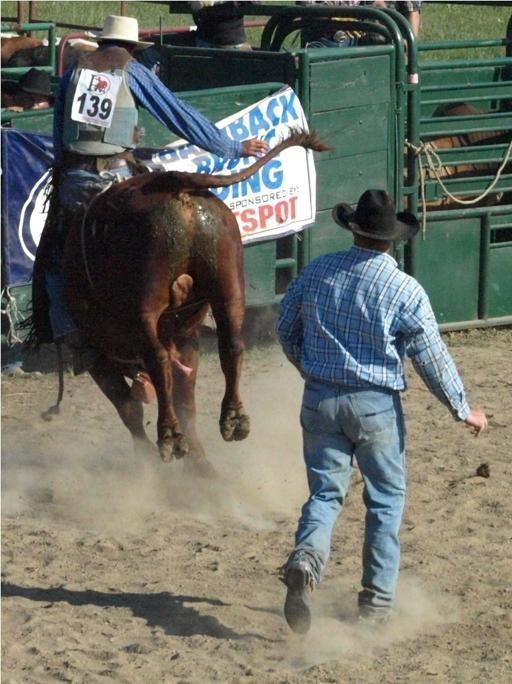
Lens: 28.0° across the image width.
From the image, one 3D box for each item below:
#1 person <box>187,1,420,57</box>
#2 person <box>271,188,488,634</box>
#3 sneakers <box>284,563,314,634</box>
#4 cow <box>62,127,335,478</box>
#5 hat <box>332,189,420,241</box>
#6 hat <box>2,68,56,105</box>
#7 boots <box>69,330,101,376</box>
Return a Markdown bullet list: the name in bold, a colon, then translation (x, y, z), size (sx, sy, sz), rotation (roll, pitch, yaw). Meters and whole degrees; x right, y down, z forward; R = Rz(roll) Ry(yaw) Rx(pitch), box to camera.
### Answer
- **person**: translation (0.415, -2.552, 8.615), size (1.908, 0.427, 0.889), rotation (1, 40, 1)
- **person**: translation (0.394, 0.266, 4.035), size (0.856, 1.687, 0.794), rotation (-5, 15, -21)
- **sneakers**: translation (0.156, 0.921, 3.748), size (0.096, 0.265, 0.158), rotation (-1, -7, 3)
- **cow**: translation (-0.331, -0.191, 5.249), size (0.859, 2.166, 1.479), rotation (-16, 55, -26)
- **hat**: translation (0.461, -0.494, 4.002), size (0.334, 0.184, 0.399), rotation (2, 13, 5)
- **hat**: translation (-1.978, -2.192, 8.974), size (0.380, 0.177, 0.479), rotation (18, 2, -13)
- **boots**: translation (-0.864, 0.062, 5.152), size (0.171, 0.177, 0.196), rotation (-8, 7, -3)
